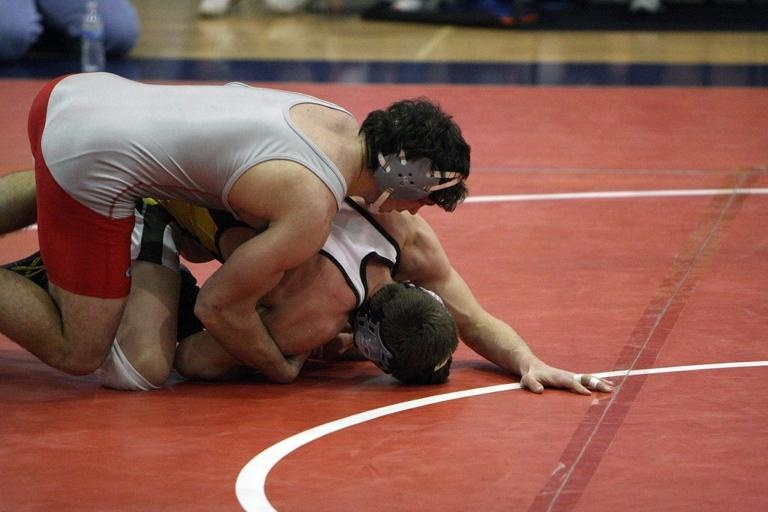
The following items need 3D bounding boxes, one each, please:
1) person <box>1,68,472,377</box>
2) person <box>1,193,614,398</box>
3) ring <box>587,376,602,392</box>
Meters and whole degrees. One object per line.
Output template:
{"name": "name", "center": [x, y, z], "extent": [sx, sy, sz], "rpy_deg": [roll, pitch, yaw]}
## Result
{"name": "person", "center": [-0.364, -0.135, 3.457], "extent": [1.716, 0.991, 0.877], "rpy_deg": [18, 45, -21]}
{"name": "person", "center": [-0.354, 0.179, 3.441], "extent": [1.248, 0.531, 0.367], "rpy_deg": [-2, 19, 28]}
{"name": "ring", "center": [0.765, 0.466, 3.309], "extent": [0.050, 0.055, 0.021], "rpy_deg": [7, 24, 8]}
